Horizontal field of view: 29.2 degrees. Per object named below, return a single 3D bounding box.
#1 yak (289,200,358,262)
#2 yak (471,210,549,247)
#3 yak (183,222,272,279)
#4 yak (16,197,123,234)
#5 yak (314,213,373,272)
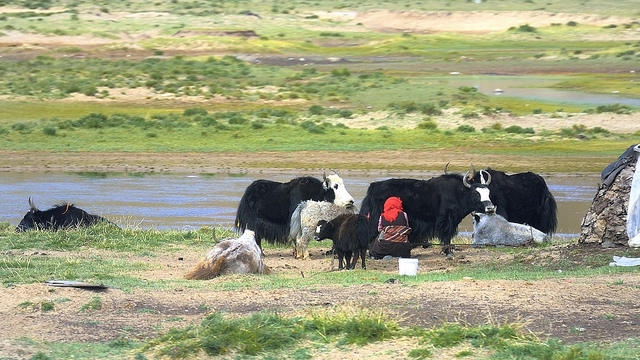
[{"bbox_3d":[-0.994,3.972,98.216,9.883,4.508,4.444,1,-1,25],"label":"yak"},{"bbox_3d":[15.207,4.090,100.488,6.533,1.931,2.950,2,4,25],"label":"yak"},{"bbox_3d":[-6.866,6.082,97.502,5.338,3.331,6.259,1,-2,-34],"label":"yak"},{"bbox_3d":[-21.340,2.809,100.158,6.802,2.620,1.172,0,4,-7],"label":"yak"},{"bbox_3d":[2.095,4.844,96.737,3.736,4.382,0.921,1,4,10],"label":"yak"}]
